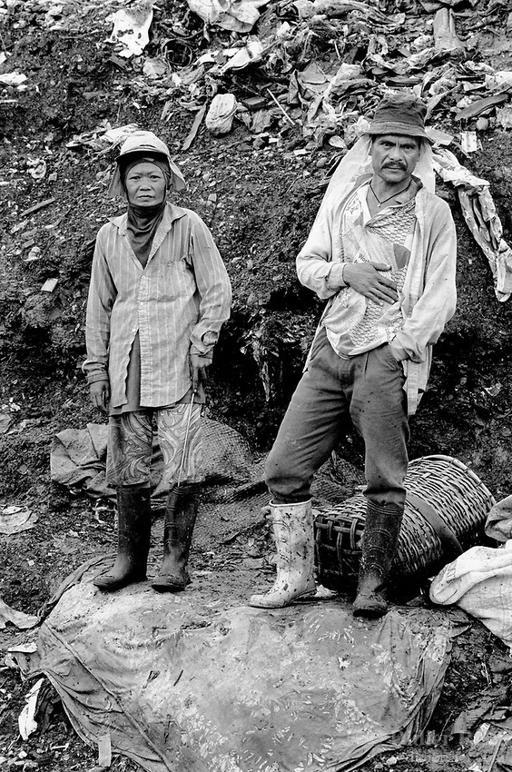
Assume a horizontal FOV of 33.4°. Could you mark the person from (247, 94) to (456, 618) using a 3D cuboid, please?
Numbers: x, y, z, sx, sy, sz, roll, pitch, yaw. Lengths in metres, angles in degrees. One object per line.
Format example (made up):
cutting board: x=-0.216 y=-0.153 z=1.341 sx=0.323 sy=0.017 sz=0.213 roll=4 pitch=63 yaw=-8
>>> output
person: x=0.401 y=-0.071 z=3.448 sx=0.656 sy=2.059 sz=0.854 roll=8 pitch=23 yaw=26

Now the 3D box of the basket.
basket: x=0.737 y=0.633 z=3.927 sx=0.672 sy=0.624 sz=0.905 roll=-5 pitch=9 yaw=39

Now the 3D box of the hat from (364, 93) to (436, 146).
hat: x=0.553 y=-1.049 z=3.359 sx=0.244 sy=0.179 sz=0.190 roll=0 pitch=20 yaw=6

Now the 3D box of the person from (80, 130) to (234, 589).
person: x=-0.490 y=-0.090 z=3.855 sx=0.650 sy=1.998 sz=0.786 roll=3 pitch=21 yaw=15
